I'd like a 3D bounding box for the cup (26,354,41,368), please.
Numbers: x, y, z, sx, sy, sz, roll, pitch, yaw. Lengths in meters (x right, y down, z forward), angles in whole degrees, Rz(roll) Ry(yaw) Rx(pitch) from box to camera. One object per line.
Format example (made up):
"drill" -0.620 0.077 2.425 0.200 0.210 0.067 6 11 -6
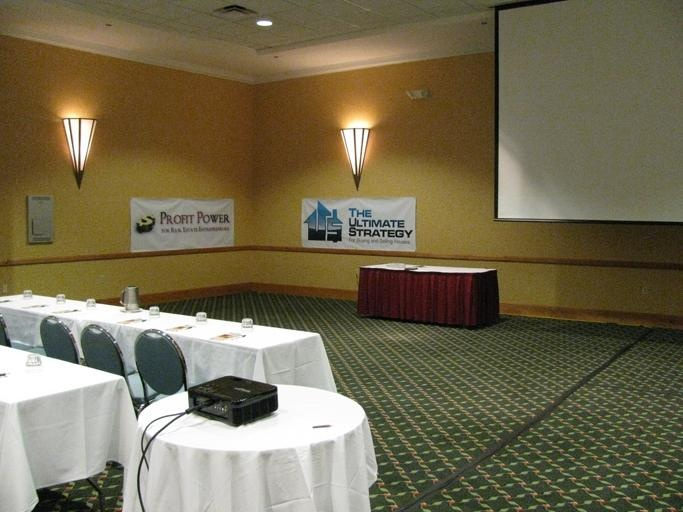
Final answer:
"cup" -1.751 0.634 2.809 0.071 0.066 0.070 0 -1 0

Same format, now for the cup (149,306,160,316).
"cup" -1.689 0.525 4.401 0.105 0.091 0.105 1 3 0

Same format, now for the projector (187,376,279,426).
"projector" -0.446 0.628 2.072 0.190 0.080 0.259 4 3 39

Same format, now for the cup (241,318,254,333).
"cup" -0.785 0.598 3.987 0.115 0.116 0.114 0 1 0

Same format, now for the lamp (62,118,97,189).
"lamp" -4.470 -1.850 8.428 0.464 1.227 0.192 -4 7 -28
